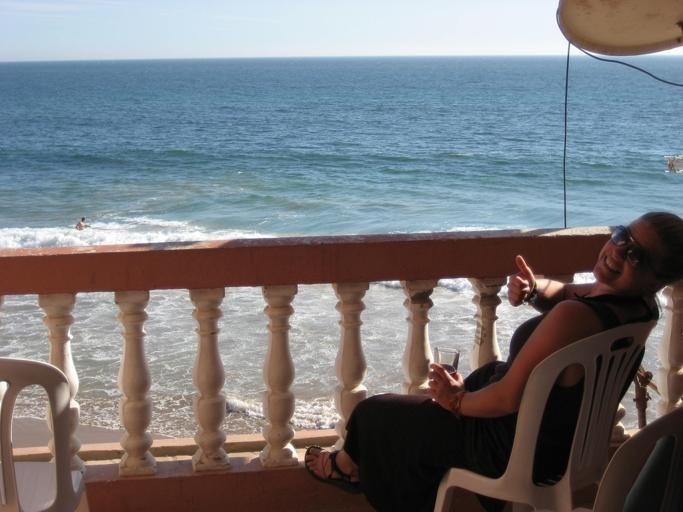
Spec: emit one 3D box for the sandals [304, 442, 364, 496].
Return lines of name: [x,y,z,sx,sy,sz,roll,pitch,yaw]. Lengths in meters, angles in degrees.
sandals: [-0.033,1.021,3.688,0.338,0.129,0.089,25,3,29]

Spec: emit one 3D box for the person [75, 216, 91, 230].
person: [-7.497,-0.936,22.173,0.315,0.540,0.909,1,7,-17]

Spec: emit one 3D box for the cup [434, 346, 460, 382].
cup: [0.472,0.484,3.430,0.131,0.194,0.123,1,2,0]

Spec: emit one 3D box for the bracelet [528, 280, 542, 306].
bracelet: [0.882,0.179,3.546,0.037,0.082,0.074,10,1,19]

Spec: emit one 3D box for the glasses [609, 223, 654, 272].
glasses: [1.175,-0.040,3.151,0.056,0.157,0.156,-8,15,-34]
